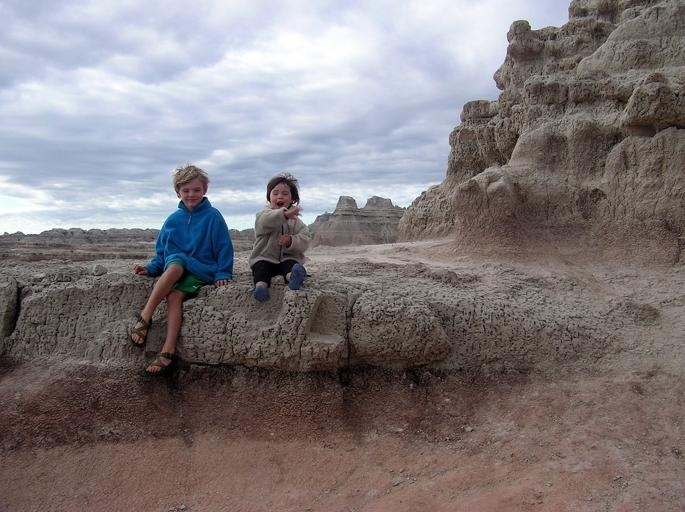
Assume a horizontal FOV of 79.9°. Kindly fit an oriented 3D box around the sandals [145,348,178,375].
[{"bbox_3d":[-1.646,0.999,3.855,0.337,0.153,0.142,-27,4,-38],"label":"sandals"}]

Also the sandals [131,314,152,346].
[{"bbox_3d":[-1.897,0.666,3.882,0.137,0.352,0.102,14,-31,-29],"label":"sandals"}]

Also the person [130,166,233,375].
[{"bbox_3d":[-1.585,0.086,4.034,0.970,2.006,0.753,-2,7,-14],"label":"person"}]

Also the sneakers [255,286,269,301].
[{"bbox_3d":[-0.773,0.348,3.913,0.133,0.156,0.083,-1,7,-10],"label":"sneakers"}]

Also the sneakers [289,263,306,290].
[{"bbox_3d":[-0.433,0.198,3.995,0.119,0.299,0.122,16,16,0],"label":"sneakers"}]

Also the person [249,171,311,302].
[{"bbox_3d":[-0.647,-0.205,4.149,0.625,1.292,0.666,-1,7,-5],"label":"person"}]
